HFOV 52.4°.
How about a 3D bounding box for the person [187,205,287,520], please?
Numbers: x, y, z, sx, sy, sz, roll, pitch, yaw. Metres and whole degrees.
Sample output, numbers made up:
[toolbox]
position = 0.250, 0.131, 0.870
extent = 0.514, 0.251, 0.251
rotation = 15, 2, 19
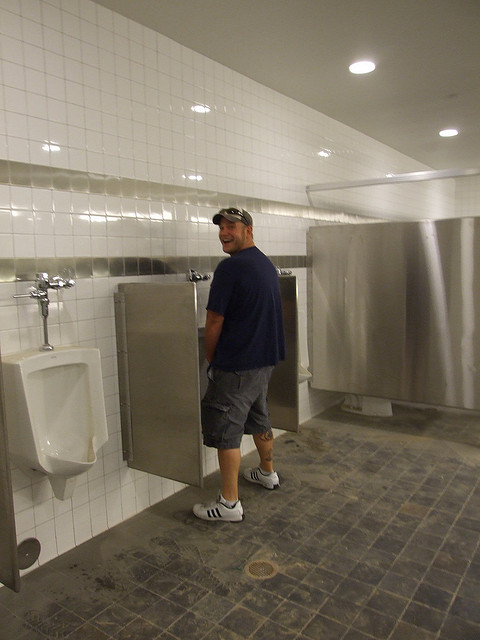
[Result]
[person]
position = -0.015, 0.206, 2.518
extent = 0.457, 1.534, 0.543
rotation = 0, 5, 12

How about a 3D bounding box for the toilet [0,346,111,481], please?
[toilet]
position = -0.694, 0.385, 1.930
extent = 0.408, 0.527, 0.269
rotation = -5, 6, -39

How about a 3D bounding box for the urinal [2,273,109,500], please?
[urinal]
position = -0.709, 0.298, 1.990
extent = 0.332, 0.982, 0.492
rotation = 0, 5, 16
